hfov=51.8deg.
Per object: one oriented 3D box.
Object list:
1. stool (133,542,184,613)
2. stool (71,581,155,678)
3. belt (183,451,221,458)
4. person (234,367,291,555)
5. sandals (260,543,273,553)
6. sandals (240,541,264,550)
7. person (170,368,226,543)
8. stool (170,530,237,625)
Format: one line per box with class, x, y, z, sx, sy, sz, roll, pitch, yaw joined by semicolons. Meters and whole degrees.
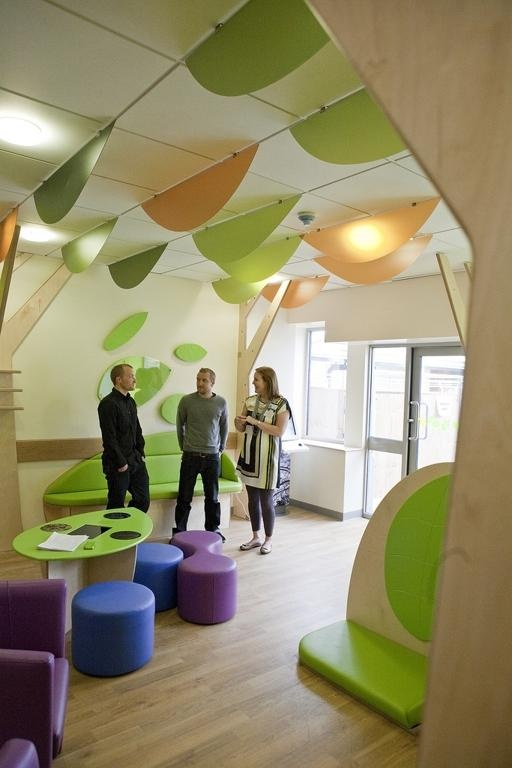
stool;-0.513;1.292;3.415;0.380;0.363;0.344;-27;-35;32
stool;-0.719;1.220;2.666;0.404;0.341;0.409;2;5;-13
belt;-0.478;0.607;4.597;0.324;0.056;0.108;2;-1;-3
person;0.033;0.641;4.390;0.426;1.252;0.546;2;-1;-10
sandals;0.088;1.373;4.408;0.074;0.058;0.206;0;-5;4
sandals;-0.030;1.376;4.538;0.073;0.087;0.217;-7;-13;41
person;-0.492;0.603;4.698;0.442;1.299;0.332;2;-1;-7
stool;-0.363;1.252;3.538;0.396;0.343;0.899;1;1;-16
